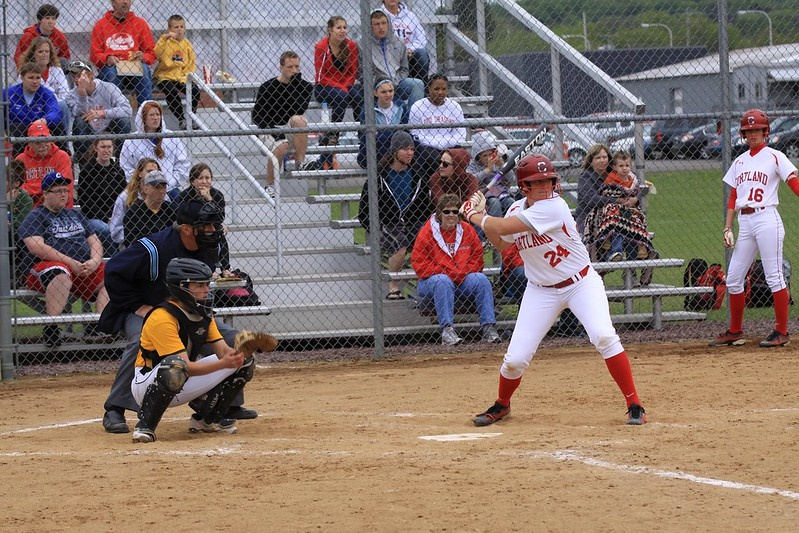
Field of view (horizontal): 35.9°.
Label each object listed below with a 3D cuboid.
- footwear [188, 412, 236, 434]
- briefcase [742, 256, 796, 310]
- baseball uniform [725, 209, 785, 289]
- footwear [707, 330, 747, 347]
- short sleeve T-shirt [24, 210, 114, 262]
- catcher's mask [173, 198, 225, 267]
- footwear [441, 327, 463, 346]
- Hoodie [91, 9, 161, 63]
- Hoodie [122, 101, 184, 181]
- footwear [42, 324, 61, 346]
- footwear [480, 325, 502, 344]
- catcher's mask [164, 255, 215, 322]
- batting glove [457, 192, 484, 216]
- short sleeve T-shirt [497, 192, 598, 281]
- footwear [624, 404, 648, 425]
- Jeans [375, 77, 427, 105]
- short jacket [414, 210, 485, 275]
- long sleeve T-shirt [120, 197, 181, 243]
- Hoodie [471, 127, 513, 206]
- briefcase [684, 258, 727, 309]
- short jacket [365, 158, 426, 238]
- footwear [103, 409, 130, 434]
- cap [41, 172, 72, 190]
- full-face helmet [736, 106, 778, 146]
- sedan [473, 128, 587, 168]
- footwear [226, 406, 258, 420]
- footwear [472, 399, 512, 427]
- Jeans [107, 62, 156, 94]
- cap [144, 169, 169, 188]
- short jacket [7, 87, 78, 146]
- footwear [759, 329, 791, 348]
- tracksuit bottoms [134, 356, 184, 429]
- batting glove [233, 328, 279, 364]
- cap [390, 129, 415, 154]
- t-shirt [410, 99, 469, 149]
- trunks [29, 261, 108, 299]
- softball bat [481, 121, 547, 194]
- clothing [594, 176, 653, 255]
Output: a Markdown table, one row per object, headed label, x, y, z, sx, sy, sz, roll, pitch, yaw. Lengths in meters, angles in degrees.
| label | x | y | z | sx | sy | sz | roll | pitch | yaw |
| --- | --- | --- | --- | --- | --- | --- | --- | --- | --- |
| footwear | -1.904 | 1.570 | 12.438 | 0.474 | 0.194 | 0.190 | -2 | 1 | 0 |
| briefcase | 4.850 | 0.213 | 16.465 | 0.733 | 0.712 | 0.847 | -1 | 4 | 6 |
| baseball uniform | 4.339 | -0.104 | 14.940 | 0.650 | 1.750 | 0.424 | 1 | 13 | 16 |
| footwear | 4.014 | 0.882 | 15.068 | 0.469 | 0.195 | 0.177 | 1 | 2 | -1 |
| short sleeve T-shirt | -4.215 | -0.399 | 15.233 | 1.083 | 0.923 | 0.621 | -2 | -7 | -34 |
| catcher's mask | -1.997 | -0.317 | 12.242 | 0.437 | 0.619 | 0.433 | -3 | 1 | -11 |
| footwear | 0.622 | 0.862 | 15.208 | 0.302 | 0.266 | 0.158 | -4 | 0 | 15 |
| Hoodie | -3.818 | -3.104 | 17.019 | 0.912 | 0.784 | 0.586 | -3 | 26 | -15 |
| Hoodie | -3.166 | -1.486 | 15.856 | 1.008 | 1.203 | 0.707 | -1 | 4 | -27 |
| footwear | -4.274 | 0.841 | 15.106 | 0.200 | 0.263 | 0.259 | -3 | 1 | -16 |
| footwear | 1.117 | 0.847 | 15.341 | 0.156 | 0.198 | 0.315 | -2 | -6 | -19 |
| catcher's mask | -2.075 | 0.200 | 12.013 | 0.580 | 0.516 | 0.435 | 9 | 0 | 17 |
| batting glove | 0.728 | -0.614 | 12.242 | 0.225 | 0.215 | 0.272 | -3 | 1 | 1 |
| short sleeve T-shirt | 1.445 | -0.222 | 12.354 | 0.755 | 0.854 | 0.809 | -5 | -3 | -27 |
| footwear | 2.360 | 1.475 | 12.293 | 0.189 | 0.185 | 0.438 | -3 | -6 | 14 |
| Jeans | 0.083 | -2.440 | 16.996 | 0.492 | 0.177 | 0.461 | 12 | 28 | 12 |
| short jacket | 0.588 | -0.224 | 15.279 | 1.002 | 0.779 | 0.563 | -3 | 10 | -24 |
| long sleeve T-shirt | -2.847 | -0.529 | 14.074 | 0.606 | 0.497 | 0.312 | -2 | 20 | -20 |
| Hoodie | 1.191 | -1.253 | 16.133 | 0.580 | 0.893 | 1.307 | -3 | 1 | 5 |
| briefcase | 4.076 | 0.243 | 16.466 | 0.688 | 0.652 | 0.502 | 8 | 6 | 7 |
| short jacket | -0.078 | -0.844 | 15.500 | 1.139 | 0.928 | 0.589 | -1 | 2 | -13 |
| footwear | -2.910 | 1.563 | 12.515 | 0.318 | 0.224 | 0.221 | -3 | 1 | 6 |
| cap | -4.241 | -1.053 | 15.012 | 0.343 | 0.180 | 0.203 | -19 | -2 | 10 |
| full-face helmet | 4.290 | -1.675 | 14.711 | 0.353 | 0.431 | 0.455 | -5 | 18 | 28 |
| sedan | 1.711 | -1.576 | 16.366 | 0.762 | 0.230 | 1.079 | -14 | 20 | -30 |
| footwear | -1.647 | 1.511 | 12.803 | 0.362 | 0.134 | 0.115 | -1 | 6 | -13 |
| footwear | 0.945 | 1.490 | 12.597 | 0.480 | 0.175 | 0.172 | -8 | 10 | -40 |
| Jeans | -3.737 | -2.516 | 17.074 | 0.555 | 0.677 | 0.409 | -8 | -32 | -19 |
| cap | -2.893 | -1.043 | 14.502 | 0.263 | 0.170 | 0.227 | -3 | 1 | -12 |
| short jacket | -4.647 | -1.996 | 15.728 | 0.657 | 0.749 | 0.318 | -3 | 1 | -21 |
| footwear | 4.556 | 0.900 | 14.976 | 0.385 | 0.154 | 0.170 | 0 | -2 | -9 |
| tracksuit bottoms | -2.329 | 1.241 | 12.031 | 0.541 | 0.666 | 0.287 | -2 | 2 | 45 |
| batting glove | -1.437 | 0.761 | 12.125 | 0.399 | 0.235 | 0.339 | -3 | 1 | -8 |
| cap | 0.010 | -1.572 | 15.439 | 0.269 | 0.250 | 0.296 | -6 | 7 | -25 |
| t-shirt | 0.488 | -1.846 | 16.065 | 0.909 | 0.764 | 0.471 | -1 | -2 | -14 |
| trunks | -4.074 | 0.176 | 14.978 | 0.917 | 0.455 | 0.291 | -3 | 1 | -16 |
| softball bat | 1.274 | -1.280 | 15.421 | 0.119 | 1.320 | 0.110 | 36 | 46 | 11 |
| clothing | 2.823 | -0.610 | 15.612 | 0.686 | 0.872 | 0.294 | -2 | 6 | -2 |
